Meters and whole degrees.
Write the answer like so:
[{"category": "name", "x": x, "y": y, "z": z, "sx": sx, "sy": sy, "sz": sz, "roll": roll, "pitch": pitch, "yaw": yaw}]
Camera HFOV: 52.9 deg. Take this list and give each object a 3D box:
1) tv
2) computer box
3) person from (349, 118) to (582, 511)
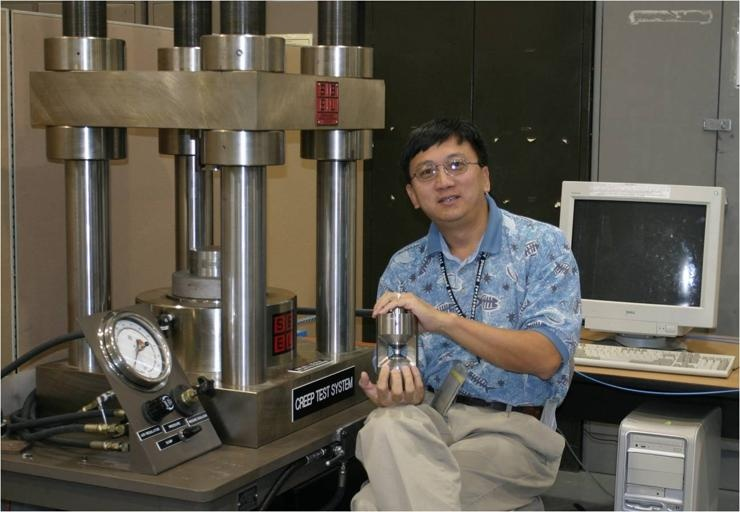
[{"category": "tv", "x": 1.235, "y": 0.038, "z": 3.408, "sx": 0.771, "sy": 0.788, "sz": 0.424, "roll": 0, "pitch": -1, "yaw": 18}, {"category": "computer box", "x": 1.277, "y": 0.912, "z": 3.176, "sx": 0.356, "sy": 0.488, "sz": 0.477, "roll": 4, "pitch": 10, "yaw": 29}, {"category": "person", "x": 0.341, "y": 0.222, "z": 2.576, "sx": 0.723, "sy": 1.379, "sz": 0.778, "roll": 2, "pitch": 9, "yaw": 17}]
